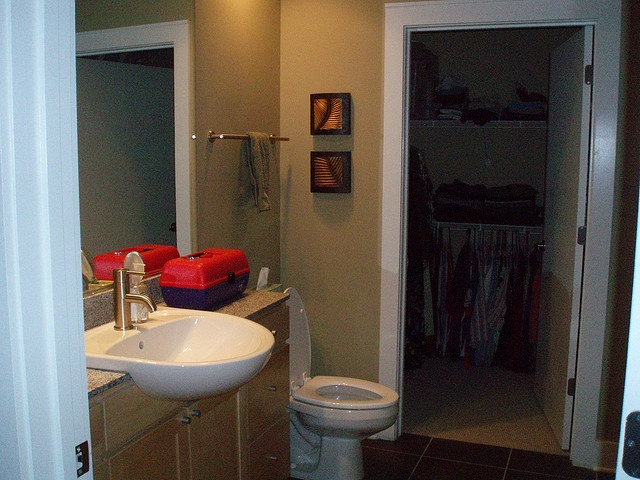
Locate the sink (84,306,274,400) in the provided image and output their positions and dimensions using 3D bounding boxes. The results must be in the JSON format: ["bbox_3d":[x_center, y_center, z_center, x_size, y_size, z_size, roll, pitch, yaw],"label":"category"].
[{"bbox_3d":[-0.484,0.392,2.030,0.653,0.160,0.520,3,10,12],"label":"sink"}]

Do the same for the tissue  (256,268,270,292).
[{"bbox_3d":[-0.302,0.202,3.065,0.054,0.115,0.111,1,10,0],"label":"tissue "}]

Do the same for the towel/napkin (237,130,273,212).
[{"bbox_3d":[-0.319,-0.358,3.038,0.108,0.396,0.274,5,10,23],"label":"towel/napkin"}]

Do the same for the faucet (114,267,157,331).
[{"bbox_3d":[-0.656,0.215,2.069,0.159,0.215,0.071,2,8,10],"label":"faucet"}]

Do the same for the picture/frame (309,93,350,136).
[{"bbox_3d":[0.063,-0.706,3.239,0.209,0.223,0.031,3,7,21],"label":"picture/frame"}]

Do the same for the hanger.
[{"bbox_3d":[1.220,0.054,4.264,0.761,0.363,0.350,3,10,12],"label":"hanger"}]

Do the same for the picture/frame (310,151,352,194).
[{"bbox_3d":[0.071,-0.388,3.278,0.203,0.221,0.017,3,6,17],"label":"picture/frame"}]
